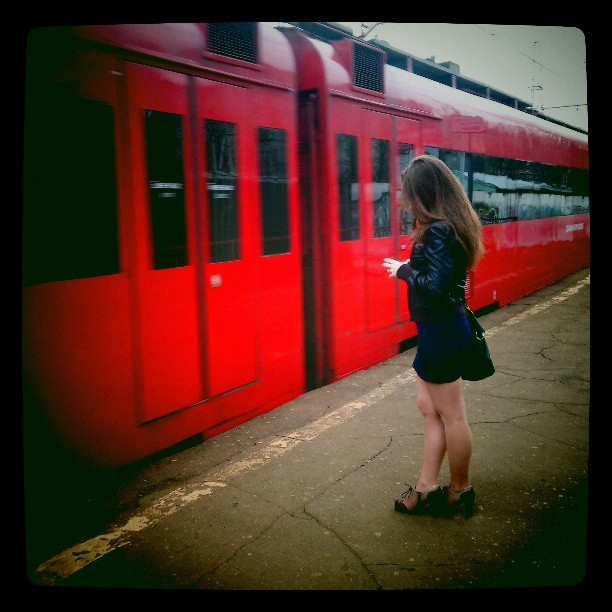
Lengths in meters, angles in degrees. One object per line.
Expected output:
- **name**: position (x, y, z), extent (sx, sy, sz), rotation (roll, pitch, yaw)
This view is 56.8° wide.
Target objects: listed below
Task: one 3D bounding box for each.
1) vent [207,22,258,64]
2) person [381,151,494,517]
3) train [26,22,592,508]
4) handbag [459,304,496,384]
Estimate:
- **vent**: position (-0.490, -1.898, 3.998), extent (0.134, 0.290, 0.549), rotation (3, 13, 24)
- **person**: position (0.752, 0.207, 3.048), extent (0.479, 1.986, 0.423), rotation (-6, 11, -23)
- **train**: position (1.666, -1.475, 8.021), extent (1.796, 3.211, 11.325), rotation (9, 14, 39)
- **handbag**: position (0.907, 0.196, 2.971), extent (0.161, 0.432, 0.256), rotation (3, 12, 25)
